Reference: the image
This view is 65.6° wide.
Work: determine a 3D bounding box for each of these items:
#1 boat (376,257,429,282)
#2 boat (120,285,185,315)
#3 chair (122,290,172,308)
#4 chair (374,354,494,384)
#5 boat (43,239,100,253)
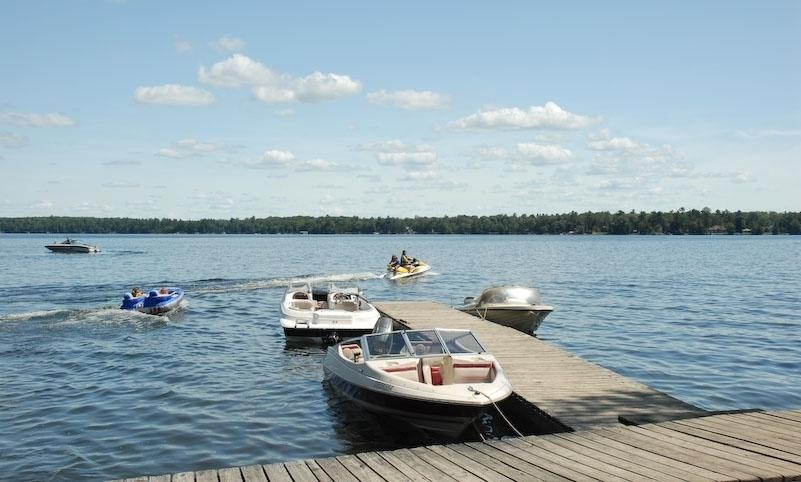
[{"bbox_3d":[0.970,2.896,58.833,3.856,1.030,2.096,-15,17,-30],"label":"boat"},{"bbox_3d":[-15.076,3.709,39.115,2.193,0.824,2.597,0,2,2],"label":"boat"},{"bbox_3d":[-15.702,3.545,38.475,2.515,0.686,1.435,-4,5,23],"label":"chair"},{"bbox_3d":[1.560,4.625,21.816,4.947,0.944,1.291,0,-6,4],"label":"chair"},{"bbox_3d":[-63.920,0.936,121.386,7.663,2.129,4.345,-1,8,-19],"label":"boat"}]
